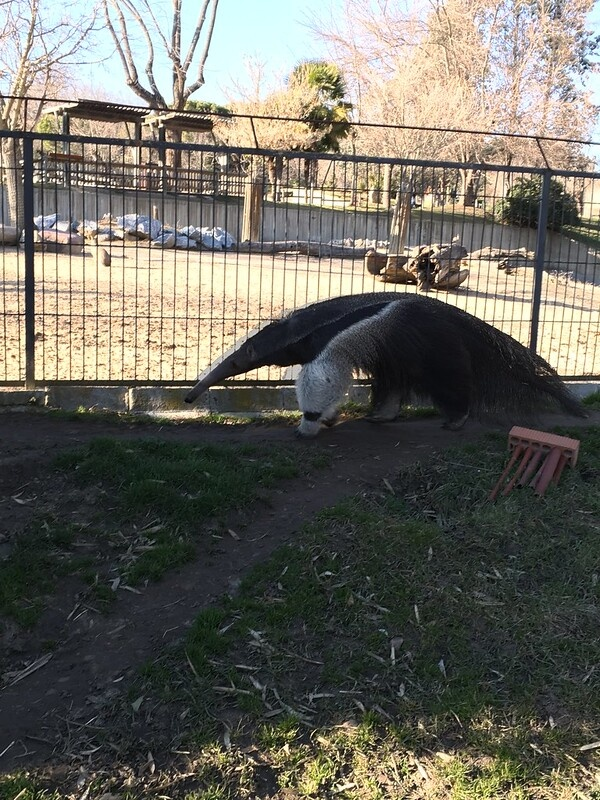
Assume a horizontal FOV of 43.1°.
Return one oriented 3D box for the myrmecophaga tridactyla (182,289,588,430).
[{"bbox_3d":[0.716,-0.289,6.126,3.255,0.983,0.848,-5,14,-9],"label":"myrmecophaga tridactyla"}]
